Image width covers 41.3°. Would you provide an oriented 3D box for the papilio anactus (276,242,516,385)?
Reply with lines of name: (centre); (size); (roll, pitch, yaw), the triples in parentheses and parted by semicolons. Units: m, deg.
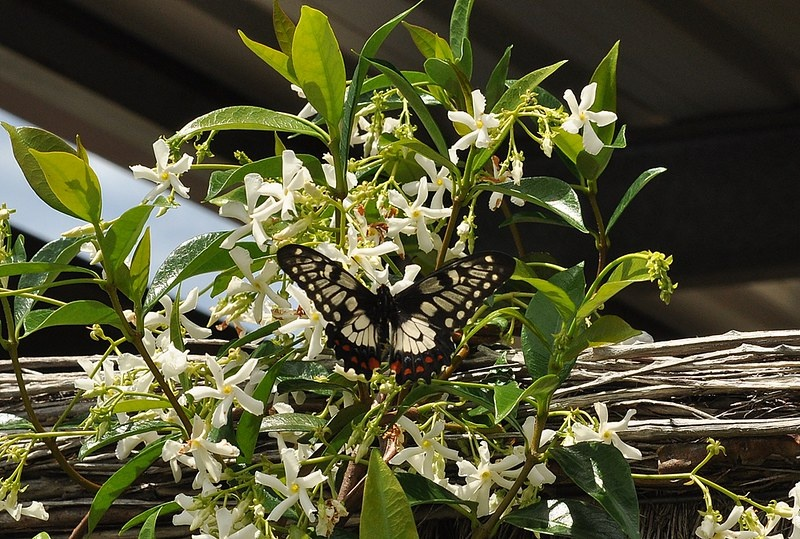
papilio anactus: (-0.033, 0.114, 2.363); (0.554, 0.297, 0.062); (3, 8, 21)
